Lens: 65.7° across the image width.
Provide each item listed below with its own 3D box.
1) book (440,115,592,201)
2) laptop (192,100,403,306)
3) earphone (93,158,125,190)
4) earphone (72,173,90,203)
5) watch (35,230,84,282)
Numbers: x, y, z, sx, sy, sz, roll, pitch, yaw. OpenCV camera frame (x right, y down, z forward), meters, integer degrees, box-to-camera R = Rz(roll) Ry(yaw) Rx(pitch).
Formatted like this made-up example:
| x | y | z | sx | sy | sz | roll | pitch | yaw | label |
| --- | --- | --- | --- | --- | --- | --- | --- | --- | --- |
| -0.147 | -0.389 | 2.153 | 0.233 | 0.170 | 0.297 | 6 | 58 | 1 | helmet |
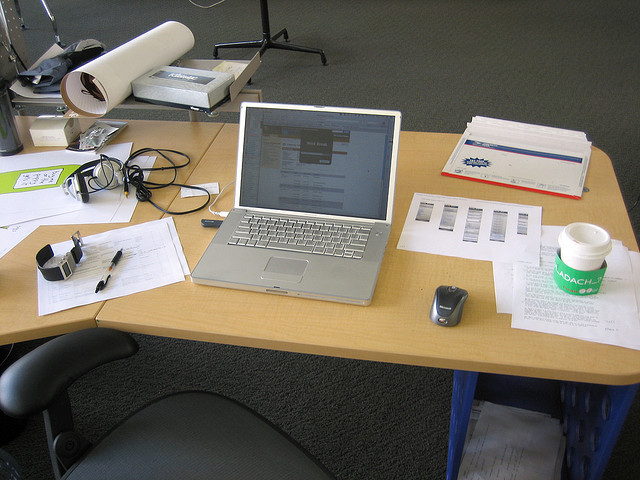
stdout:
| x | y | z | sx | sy | sz | roll | pitch | yaw | label |
| --- | --- | --- | --- | --- | --- | --- | --- | --- | --- |
| 0.627 | -0.275 | 1.578 | 0.423 | 0.044 | 0.328 | 15 | 47 | 13 | book |
| -0.031 | -0.113 | 1.328 | 0.525 | 0.331 | 0.538 | 7 | 53 | 8 | laptop |
| -0.639 | -0.200 | 1.513 | 0.081 | 0.097 | 0.048 | -8 | 15 | -14 | earphone |
| -0.695 | -0.151 | 1.456 | 0.021 | 0.071 | 0.051 | -19 | 7 | 3 | earphone |
| -0.680 | 0.048 | 1.303 | 0.109 | 0.065 | 0.108 | -4 | 43 | -16 | watch |
